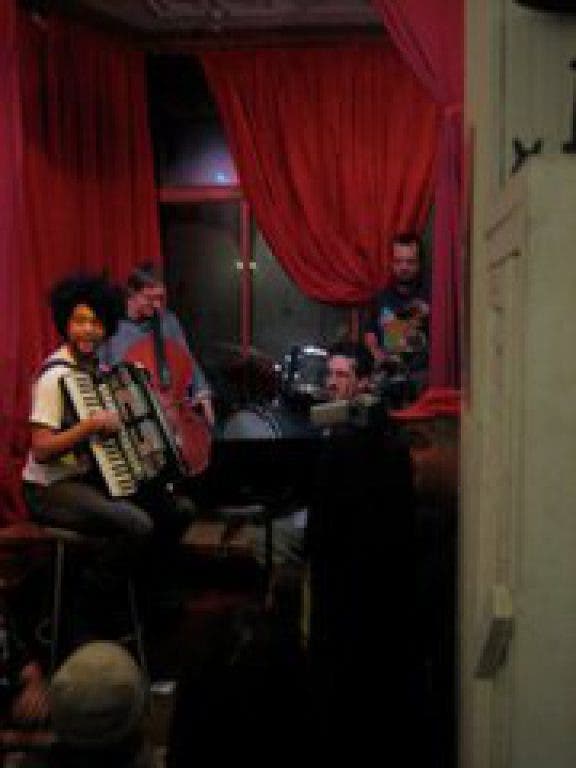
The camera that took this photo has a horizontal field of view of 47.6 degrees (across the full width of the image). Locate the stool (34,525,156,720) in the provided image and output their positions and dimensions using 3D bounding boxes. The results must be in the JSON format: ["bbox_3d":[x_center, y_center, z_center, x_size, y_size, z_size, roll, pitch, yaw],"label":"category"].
[{"bbox_3d":[-0.637,0.801,2.400,0.488,0.774,0.518,7,-9,-16],"label":"stool"}]

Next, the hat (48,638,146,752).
[{"bbox_3d":[-0.543,0.937,1.915,0.317,0.272,0.303,14,-33,-15],"label":"hat"}]

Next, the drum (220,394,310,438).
[{"bbox_3d":[-0.099,0.179,2.979,0.219,0.248,0.244,-6,5,37],"label":"drum"}]

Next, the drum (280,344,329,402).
[{"bbox_3d":[0.072,-0.013,3.160,0.242,0.283,0.197,13,-33,-14],"label":"drum"}]
